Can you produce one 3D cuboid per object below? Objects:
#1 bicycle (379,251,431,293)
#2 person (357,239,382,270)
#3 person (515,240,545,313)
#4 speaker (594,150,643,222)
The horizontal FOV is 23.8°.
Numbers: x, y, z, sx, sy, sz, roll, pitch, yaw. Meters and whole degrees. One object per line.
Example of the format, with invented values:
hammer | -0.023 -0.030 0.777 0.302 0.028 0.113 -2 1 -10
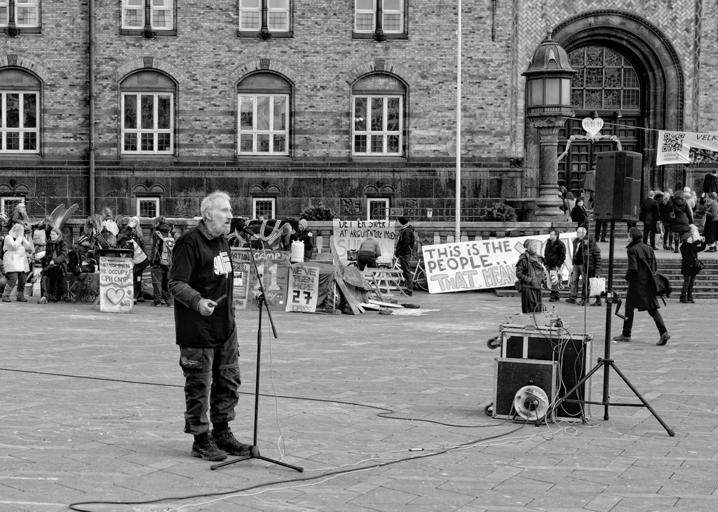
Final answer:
bicycle | 1.343 0.524 48.364 1.196 1.102 1.048 -5 8 0
person | 0.306 -0.056 46.662 0.623 0.817 1.425 -1 3 1
person | 4.207 0.445 41.441 0.833 1.966 0.650 -1 4 2
speaker | 5.098 -1.358 33.279 0.740 1.541 0.661 0 9 1
